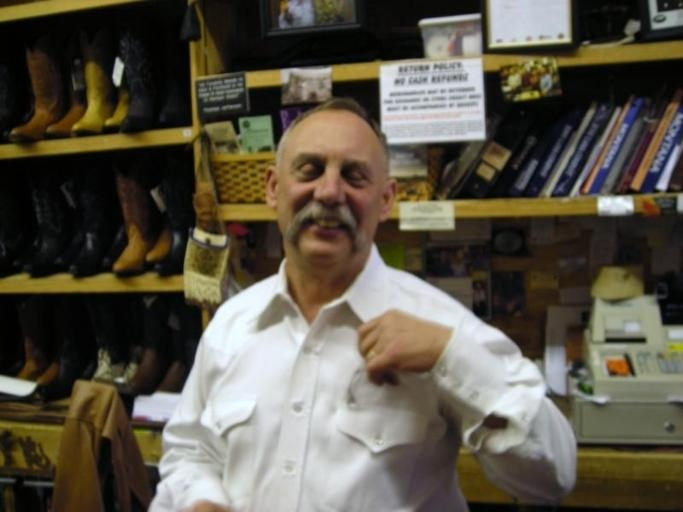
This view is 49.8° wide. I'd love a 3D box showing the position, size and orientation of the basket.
[{"bbox_3d":[-0.194,-0.339,3.234,0.609,0.233,0.431,-1,2,7],"label":"basket"}]
